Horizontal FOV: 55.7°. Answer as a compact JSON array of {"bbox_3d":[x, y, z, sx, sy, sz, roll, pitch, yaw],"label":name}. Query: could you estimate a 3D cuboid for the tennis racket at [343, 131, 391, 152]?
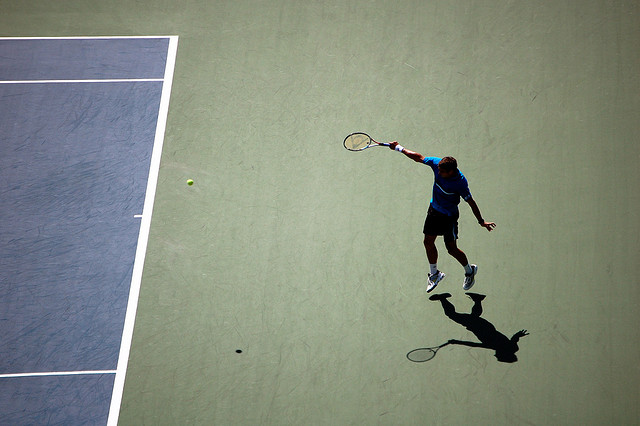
[{"bbox_3d":[0.721,-1.325,10.713,0.612,0.433,0.385,1,-15,4],"label":"tennis racket"}]
